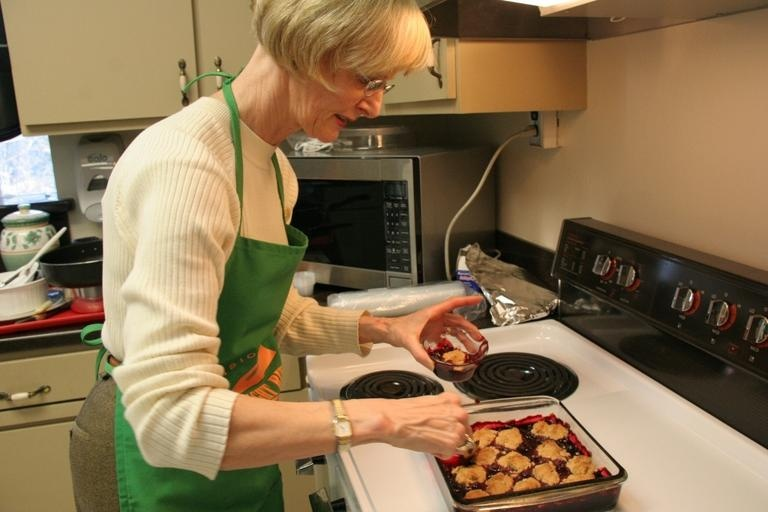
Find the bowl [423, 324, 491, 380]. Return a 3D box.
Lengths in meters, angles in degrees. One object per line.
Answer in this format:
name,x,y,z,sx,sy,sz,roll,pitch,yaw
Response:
bowl,0.161,0.250,1.314,0.136,0.132,0.066,-22,-2,2

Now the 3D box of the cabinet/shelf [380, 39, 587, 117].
cabinet/shelf,0.327,-0.525,1.730,0.395,0.199,0.611,-3,7,-8

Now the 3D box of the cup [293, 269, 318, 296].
cup,-0.288,0.100,1.973,0.085,0.075,0.094,-1,-2,27

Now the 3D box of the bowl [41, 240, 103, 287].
bowl,-1.145,0.031,1.919,0.160,0.059,0.160,0,15,0

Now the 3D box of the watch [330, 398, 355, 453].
watch,-0.078,0.292,0.887,0.028,0.070,0.080,-5,13,-9

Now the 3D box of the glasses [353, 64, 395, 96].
glasses,-0.023,-0.341,0.990,0.061,0.019,0.061,37,28,32

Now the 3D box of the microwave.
microwave,0.020,-0.131,2.130,0.749,0.469,0.494,2,7,43
